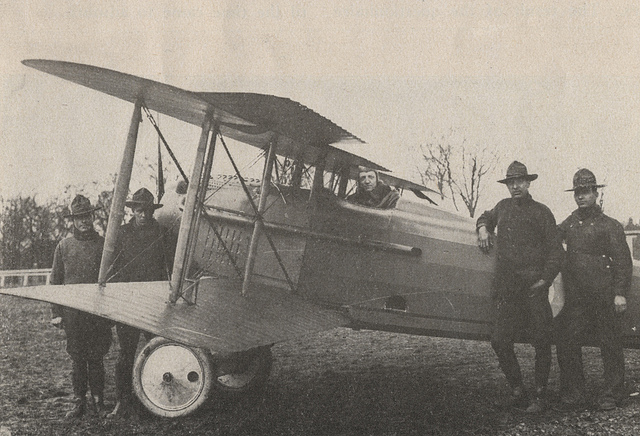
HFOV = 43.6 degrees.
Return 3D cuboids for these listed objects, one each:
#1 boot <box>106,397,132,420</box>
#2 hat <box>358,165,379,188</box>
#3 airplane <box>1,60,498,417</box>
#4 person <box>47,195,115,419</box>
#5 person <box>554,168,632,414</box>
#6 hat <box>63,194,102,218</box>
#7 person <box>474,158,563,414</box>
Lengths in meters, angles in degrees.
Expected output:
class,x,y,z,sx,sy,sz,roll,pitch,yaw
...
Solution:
class,x,y,z,sx,sy,sz,roll,pitch,yaw
boot,-2.243,2.148,8.950,0.367,0.227,0.093,-12,-27,30
hat,0.596,-0.564,9.953,0.296,0.275,0.211,0,-15,2
airplane,-0.276,0.441,9.498,4.352,2.131,5.005,7,2,11
person,-2.772,1.011,9.339,0.819,2.532,0.515,2,-3,16
person,3.159,0.844,9.227,0.837,2.804,0.329,2,-3,15
hat,-2.849,-0.135,9.481,0.282,0.109,0.274,-16,-5,32
person,2.300,0.793,9.292,0.932,2.877,0.377,2,-3,14
